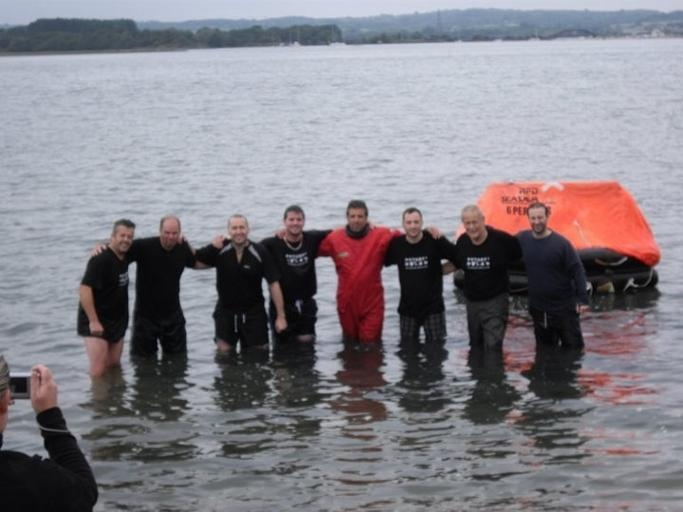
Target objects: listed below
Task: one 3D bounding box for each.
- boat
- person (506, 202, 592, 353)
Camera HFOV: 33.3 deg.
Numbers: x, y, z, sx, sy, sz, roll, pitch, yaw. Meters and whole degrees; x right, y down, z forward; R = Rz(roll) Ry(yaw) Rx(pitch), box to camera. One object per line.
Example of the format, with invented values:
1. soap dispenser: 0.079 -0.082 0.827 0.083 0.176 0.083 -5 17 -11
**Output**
1. boat: 4.843 -0.432 24.809 3.737 1.428 2.735 -1 4 -8
2. person: 3.983 0.418 21.475 1.223 2.902 0.621 -3 11 11
